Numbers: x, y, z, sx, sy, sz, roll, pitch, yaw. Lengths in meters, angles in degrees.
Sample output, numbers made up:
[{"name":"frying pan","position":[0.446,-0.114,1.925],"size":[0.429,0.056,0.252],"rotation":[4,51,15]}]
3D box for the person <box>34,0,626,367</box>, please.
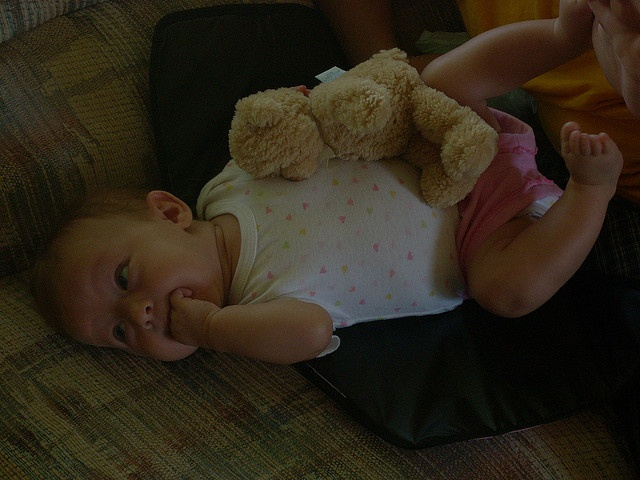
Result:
[{"name":"person","position":[0.008,-0.025,1.344],"size":[1.107,0.482,0.669],"rotation":[-8,78,0]}]
